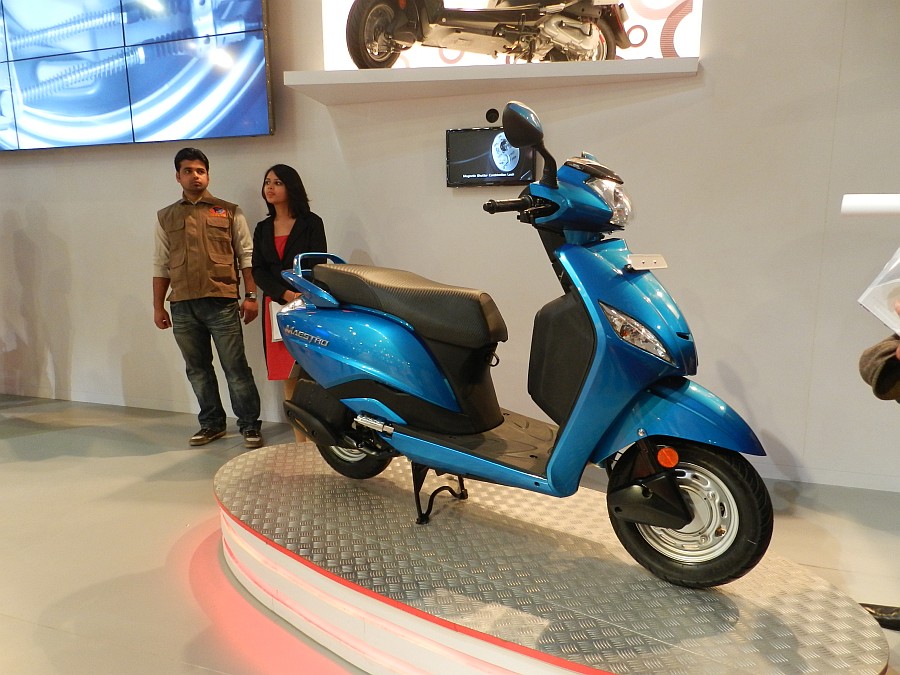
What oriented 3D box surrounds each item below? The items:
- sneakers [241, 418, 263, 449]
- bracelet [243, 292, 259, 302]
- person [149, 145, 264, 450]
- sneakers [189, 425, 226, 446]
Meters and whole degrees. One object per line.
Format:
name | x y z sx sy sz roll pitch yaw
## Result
sneakers | -1.213 0.597 4.046 0.088 0.094 0.246 -5 4 -14
bracelet | -1.248 -0.251 4.131 0.084 0.034 0.093 -6 12 -42
person | -1.519 -0.229 4.026 0.674 1.777 0.705 -8 17 -10
sneakers | -1.509 0.624 4.136 0.078 0.084 0.229 0 2 25
